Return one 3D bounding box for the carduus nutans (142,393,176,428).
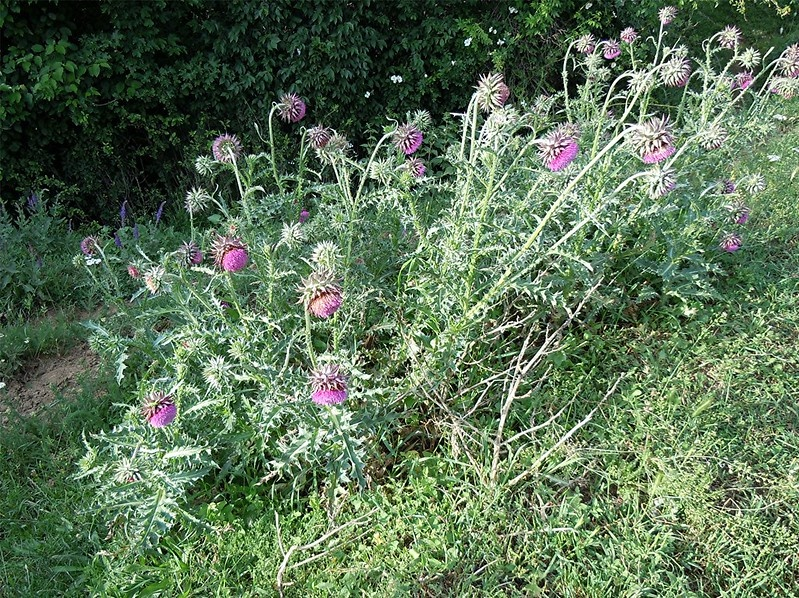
[{"bbox_3d":[-1.158,0.533,3.133,0.164,0.176,0.148,8,-13,-39],"label":"carduus nutans"}]

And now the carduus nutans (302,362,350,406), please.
[{"bbox_3d":[-0.327,0.397,2.937,0.169,0.190,0.187,12,48,6],"label":"carduus nutans"}]
